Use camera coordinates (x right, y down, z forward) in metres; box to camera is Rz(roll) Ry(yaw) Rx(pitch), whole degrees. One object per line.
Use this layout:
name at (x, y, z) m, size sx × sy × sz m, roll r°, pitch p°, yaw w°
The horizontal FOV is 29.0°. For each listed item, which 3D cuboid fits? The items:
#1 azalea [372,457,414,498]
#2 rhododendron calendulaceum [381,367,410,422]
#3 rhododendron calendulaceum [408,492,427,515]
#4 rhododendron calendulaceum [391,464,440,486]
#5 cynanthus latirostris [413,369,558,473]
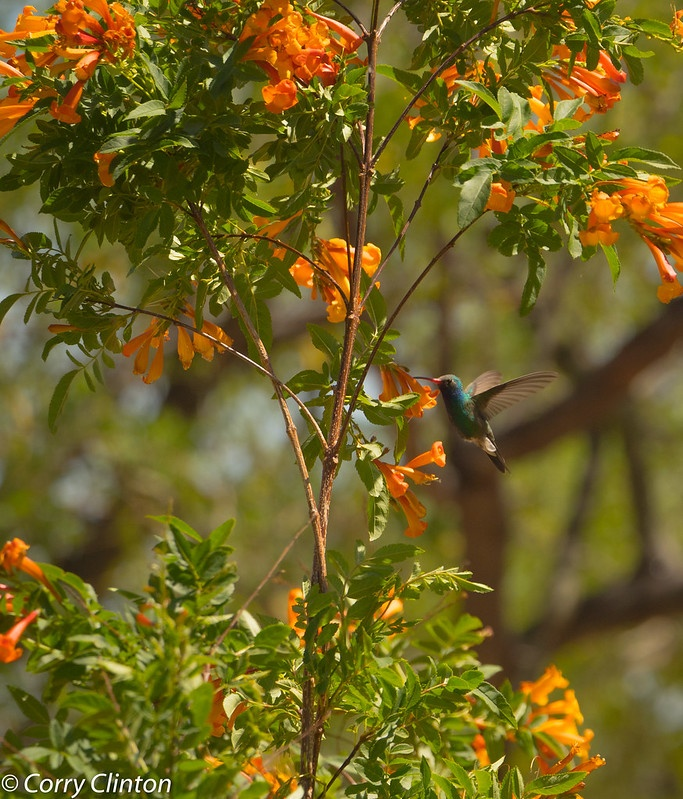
azalea at (0.102, 0.160, 2.681) m, size 0.048 × 0.094 × 0.038 m, roll -43°, pitch -12°, yaw -5°
rhododendron calendulaceum at (0.098, -0.020, 2.751) m, size 0.057 × 0.092 × 0.028 m, roll -27°, pitch -21°, yaw 26°
rhododendron calendulaceum at (0.158, 0.210, 2.752) m, size 0.022 × 0.064 × 0.014 m, roll 3°, pitch -38°, yaw -45°
rhododendron calendulaceum at (0.154, 0.153, 2.737) m, size 0.112 × 0.036 × 0.029 m, roll 15°, pitch -40°, yaw 4°
cynanthus latirostris at (0.369, 0.038, 3.936) m, size 0.360 × 0.228 × 0.452 m, roll 21°, pitch -15°, yaw -7°
